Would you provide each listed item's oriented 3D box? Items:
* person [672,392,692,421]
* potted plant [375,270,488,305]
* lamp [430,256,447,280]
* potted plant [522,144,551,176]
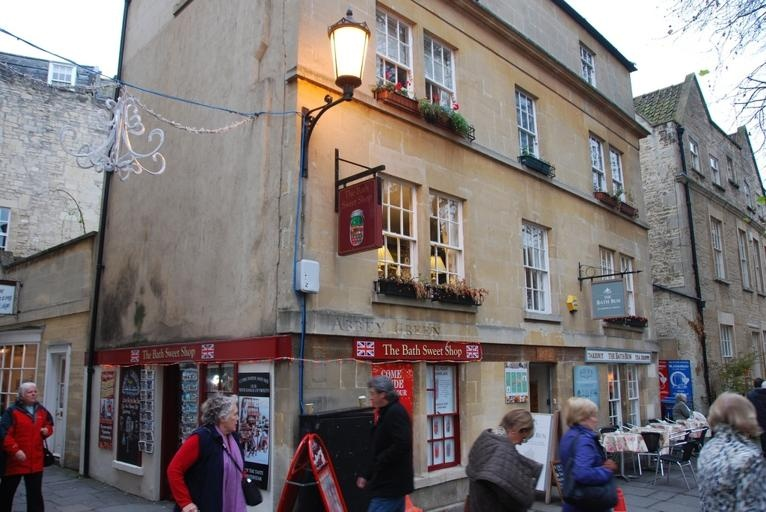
[{"bbox_3d":[8.820,4.452,17.786,0.534,0.768,1.534,-7,-15,25],"label":"person"},{"bbox_3d":[1.013,0.713,12.979,2.901,0.596,0.396,9,-16,-33],"label":"potted plant"},{"bbox_3d":[1.224,0.319,13.541,0.446,0.512,0.465,1,-16,-14],"label":"lamp"},{"bbox_3d":[4.053,-2.339,15.732,1.332,0.373,0.219,12,-18,-40],"label":"potted plant"}]
